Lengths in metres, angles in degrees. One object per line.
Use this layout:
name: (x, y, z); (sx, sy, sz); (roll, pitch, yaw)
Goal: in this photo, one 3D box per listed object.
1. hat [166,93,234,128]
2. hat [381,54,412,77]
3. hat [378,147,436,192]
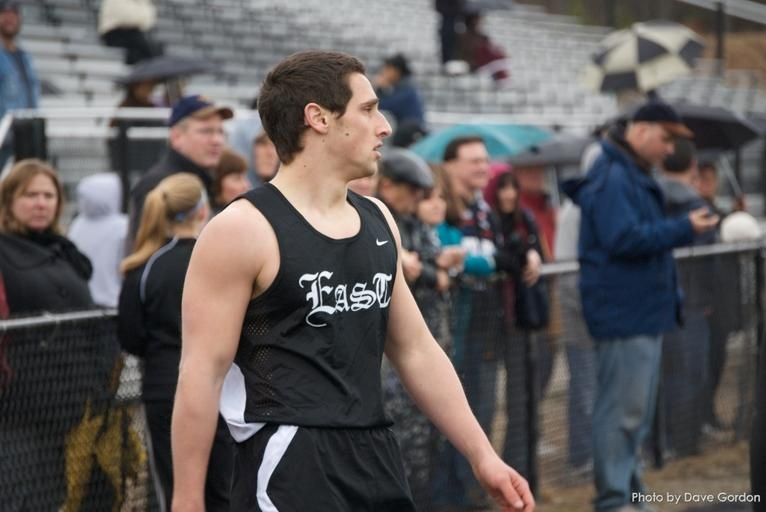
hat: (-1.348, -1.048, 9.612); (0.338, 0.149, 0.236); (-10, 3, -1)
hat: (0.122, -2.101, 14.883); (0.299, 0.313, 0.357); (2, 5, 22)
hat: (0.168, -0.622, 9.717); (0.273, 0.136, 0.359); (32, 0, -43)
